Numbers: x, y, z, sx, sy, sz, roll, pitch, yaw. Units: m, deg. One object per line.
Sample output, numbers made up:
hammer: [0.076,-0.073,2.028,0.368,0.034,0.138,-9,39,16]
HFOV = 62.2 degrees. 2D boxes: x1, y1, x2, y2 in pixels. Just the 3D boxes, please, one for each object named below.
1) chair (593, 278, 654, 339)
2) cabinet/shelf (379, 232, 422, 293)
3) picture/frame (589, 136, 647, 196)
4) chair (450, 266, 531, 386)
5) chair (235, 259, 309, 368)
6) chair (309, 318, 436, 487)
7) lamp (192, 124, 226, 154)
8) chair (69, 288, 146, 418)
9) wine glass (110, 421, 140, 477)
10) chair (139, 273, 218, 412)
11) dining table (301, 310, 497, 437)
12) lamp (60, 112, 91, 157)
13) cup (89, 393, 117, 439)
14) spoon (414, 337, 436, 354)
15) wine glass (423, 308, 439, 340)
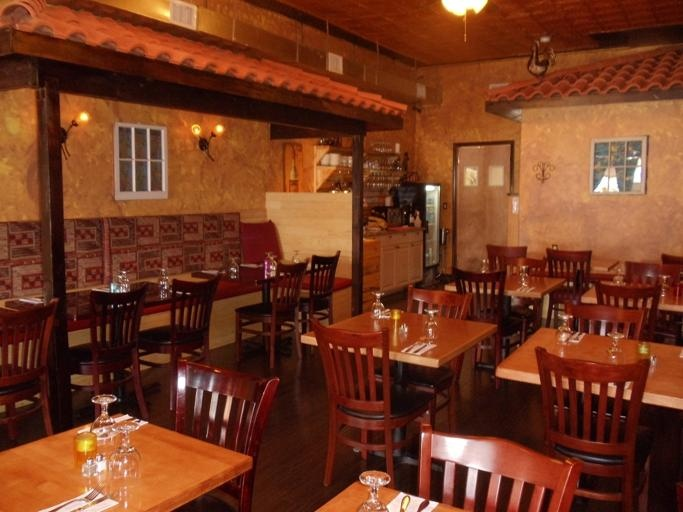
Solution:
chair: [2.255,0.439,4.552,0.379,0.701,0.462,5,15,37]
cabinet/shelf: [0.929,0.063,10.184,0.467,1.078,1.407,7,11,38]
picture/frame: [3.671,-1.203,7.490,0.726,0.879,0.032,3,8,33]
chair: [1.534,0.694,5.765,0.617,1.076,0.716,-1,-1,21]
chair: [-0.797,0.628,6.431,0.794,1.141,0.822,1,4,-5]
chair: [0.221,1.023,3.986,0.633,1.173,0.736,4,8,36]
lamp: [-1.826,-1.597,7.738,0.407,0.448,0.229,-11,6,-44]
chair: [-1.985,0.811,4.844,0.601,1.164,0.957,-4,6,-26]
wine glass: [-0.950,0.847,2.487,0.119,0.200,0.183,-4,6,-22]
chair: [-1.562,0.781,5.351,0.766,1.131,0.743,0,3,13]
dining table: [0.585,0.747,4.145,0.746,0.494,0.775,3,7,31]
lamp: [-2.965,-1.341,6.298,0.120,0.537,0.391,1,6,24]
cup: [-1.107,0.769,2.649,0.133,0.218,0.126,7,5,-1]
spoon: [0.581,0.613,3.880,0.057,0.024,0.163,3,15,26]
wine glass: [0.670,0.517,4.265,0.139,0.290,0.144,-2,7,-5]
